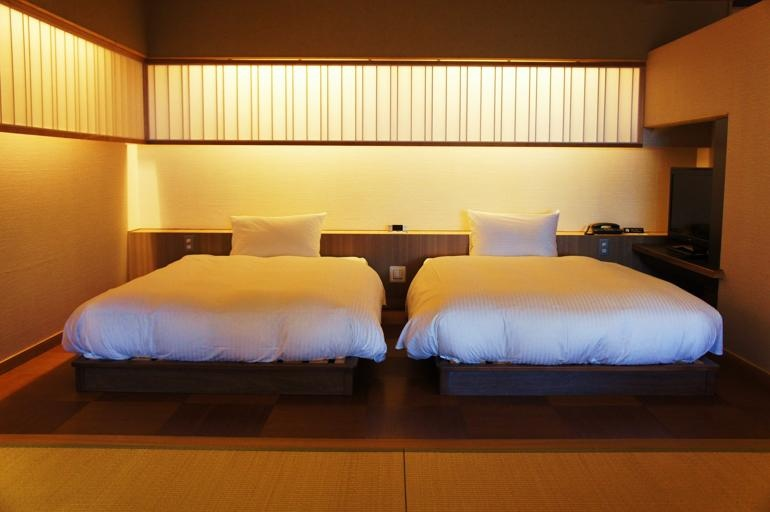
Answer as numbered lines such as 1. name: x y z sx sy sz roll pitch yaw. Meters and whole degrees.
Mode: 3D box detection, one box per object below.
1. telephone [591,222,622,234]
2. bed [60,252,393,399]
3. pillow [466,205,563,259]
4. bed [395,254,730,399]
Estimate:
1. telephone: 1.997 -0.257 5.047 0.317 0.088 0.264 3 13 7
2. bed: -0.961 0.447 3.450 1.295 0.298 1.138 2 6 1
3. pillow: 1.110 -0.195 4.782 0.600 0.285 0.150 1 -13 7
4. bed: 1.159 0.337 4.055 2.040 0.432 1.821 1 14 5
